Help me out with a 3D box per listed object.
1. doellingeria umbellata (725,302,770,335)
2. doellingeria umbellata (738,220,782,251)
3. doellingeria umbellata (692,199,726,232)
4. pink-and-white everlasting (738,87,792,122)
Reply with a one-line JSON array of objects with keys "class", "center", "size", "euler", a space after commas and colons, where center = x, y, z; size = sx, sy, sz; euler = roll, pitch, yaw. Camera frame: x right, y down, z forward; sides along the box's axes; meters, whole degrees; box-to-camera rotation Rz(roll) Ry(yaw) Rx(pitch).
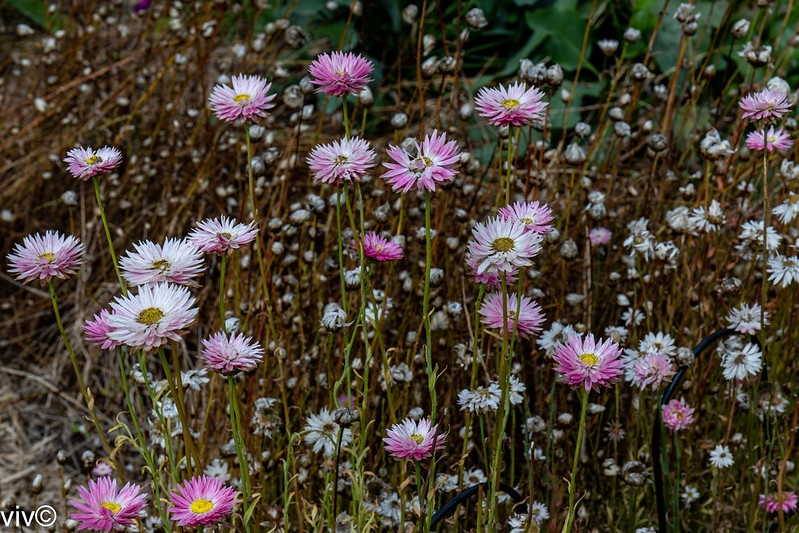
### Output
[{"class": "doellingeria umbellata", "center": [1.120, 0.174, 3.184], "size": [0.098, 0.045, 0.126], "euler": [12, 71, 6]}, {"class": "doellingeria umbellata", "center": [1.157, -0.087, 3.244], "size": [0.107, 0.057, 0.133], "euler": [-1, 44, -6]}, {"class": "doellingeria umbellata", "center": [1.020, -0.162, 3.278], "size": [0.098, 0.077, 0.112], "euler": [1, 32, 32]}, {"class": "pink-and-white everlasting", "center": [1.150, -0.512, 3.094], "size": [0.116, 0.057, 0.134], "euler": [-20, 40, -4]}]
